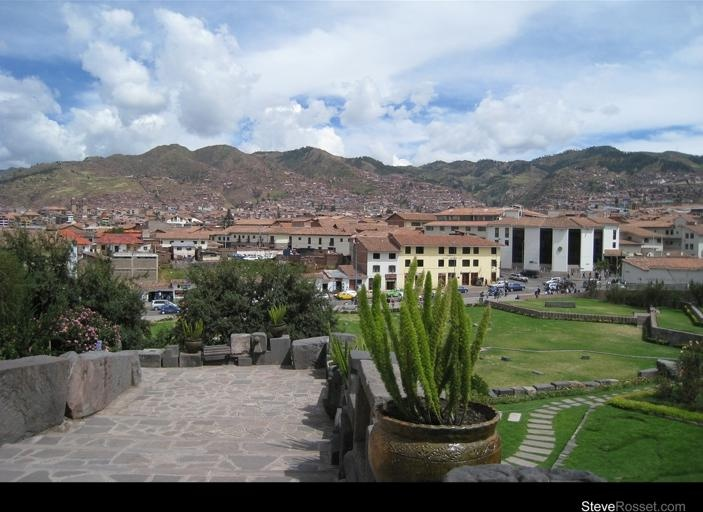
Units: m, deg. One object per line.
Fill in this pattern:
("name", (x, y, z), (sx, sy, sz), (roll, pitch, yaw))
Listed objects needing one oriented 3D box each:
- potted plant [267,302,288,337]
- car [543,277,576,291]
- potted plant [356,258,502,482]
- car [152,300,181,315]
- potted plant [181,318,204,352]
("potted plant", (-2.118, 1.804, 14.887), (0.543, 0.855, 0.601), (4, -14, -40))
("car", (18.940, 2.577, 47.965), (2.795, 1.046, 1.761), (-2, 6, -13))
("potted plant", (0.849, 1.268, 6.061), (1.567, 2.387, 1.372), (1, 0, 9))
("car", (-14.026, 3.821, 39.791), (1.715, 0.802, 3.306), (1, 0, -24))
("potted plant", (-4.287, 2.124, 14.287), (0.555, 0.715, 0.594), (-3, -4, -7))
